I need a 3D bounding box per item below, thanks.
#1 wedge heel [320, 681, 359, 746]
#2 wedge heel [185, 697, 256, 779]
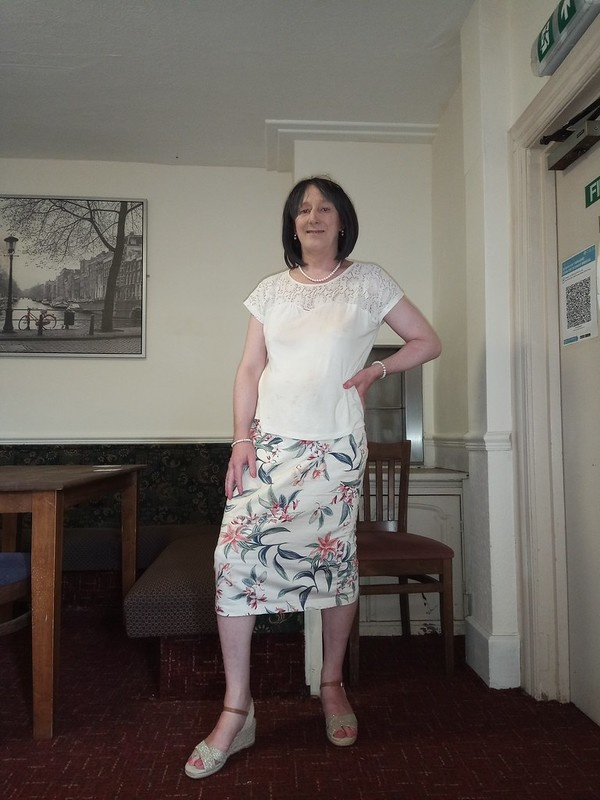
[{"bbox_3d":[0.112,0.893,1.884,0.073,0.076,0.199,0,-9,-3],"label":"wedge heel"},{"bbox_3d":[-0.206,0.935,1.853,0.089,0.137,0.249,-8,-16,29],"label":"wedge heel"}]
